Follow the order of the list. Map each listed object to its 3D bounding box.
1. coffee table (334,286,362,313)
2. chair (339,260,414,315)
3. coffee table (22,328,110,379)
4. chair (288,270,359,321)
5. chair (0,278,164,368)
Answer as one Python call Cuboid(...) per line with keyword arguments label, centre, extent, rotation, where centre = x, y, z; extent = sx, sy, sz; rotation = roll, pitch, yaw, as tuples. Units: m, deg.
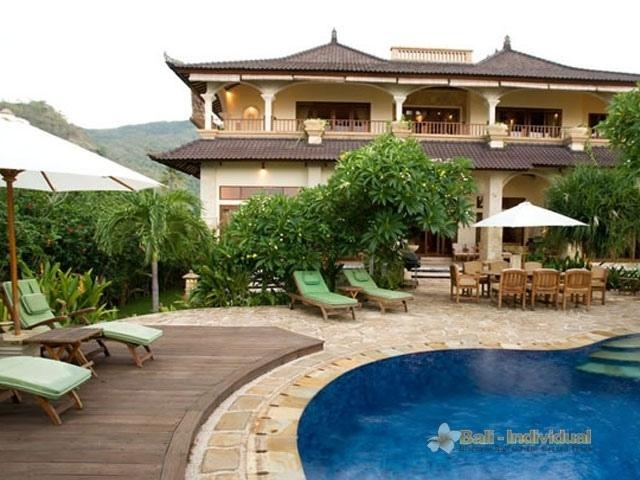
Cuboid(label="coffee table", centre=(0.896, 1.956, 19.218), extent=(0.638, 0.669, 0.993), rotation=(1, -2, -4))
Cuboid(label="chair", centre=(1.708, 1.579, 19.302), extent=(0.981, 1.184, 2.415), rotation=(1, 1, -34))
Cuboid(label="coffee table", centre=(-5.492, 2.270, 13.534), extent=(1.091, 0.774, 1.410), rotation=(1, 1, -7))
Cuboid(label="chair", centre=(0.041, 1.587, 18.462), extent=(1.028, 1.206, 2.445), rotation=(-1, 4, -32))
Cuboid(label="chair", centre=(-5.635, 1.893, 15.003), extent=(3.740, 2.300, 1.807), rotation=(1, 0, 2))
